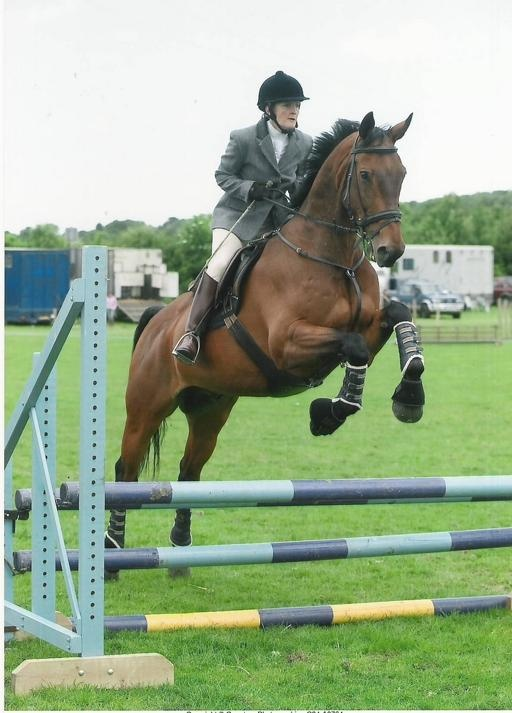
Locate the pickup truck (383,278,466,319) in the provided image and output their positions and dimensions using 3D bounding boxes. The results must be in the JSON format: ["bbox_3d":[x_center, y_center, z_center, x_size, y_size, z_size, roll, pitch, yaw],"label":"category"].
[{"bbox_3d":[4.257,-1.494,28.569,1.163,0.921,2.632,-5,14,-32],"label":"pickup truck"}]

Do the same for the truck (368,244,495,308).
[{"bbox_3d":[5.657,-2.608,37.628,4.524,2.339,1.689,-4,15,-7],"label":"truck"}]

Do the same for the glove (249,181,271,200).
[{"bbox_3d":[0.012,-0.732,5.087,0.070,0.033,0.090,-1,-20,-9],"label":"glove"}]

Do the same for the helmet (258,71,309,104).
[{"bbox_3d":[0.116,-1.198,5.073,0.231,0.173,0.106,4,4,43],"label":"helmet"}]

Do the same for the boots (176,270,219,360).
[{"bbox_3d":[-0.255,-0.165,5.079,0.137,0.447,0.125,28,-41,-17],"label":"boots"}]

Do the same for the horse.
[{"bbox_3d":[-0.024,0.079,5.382,0.615,1.635,2.419,4,-15,-34],"label":"horse"}]
